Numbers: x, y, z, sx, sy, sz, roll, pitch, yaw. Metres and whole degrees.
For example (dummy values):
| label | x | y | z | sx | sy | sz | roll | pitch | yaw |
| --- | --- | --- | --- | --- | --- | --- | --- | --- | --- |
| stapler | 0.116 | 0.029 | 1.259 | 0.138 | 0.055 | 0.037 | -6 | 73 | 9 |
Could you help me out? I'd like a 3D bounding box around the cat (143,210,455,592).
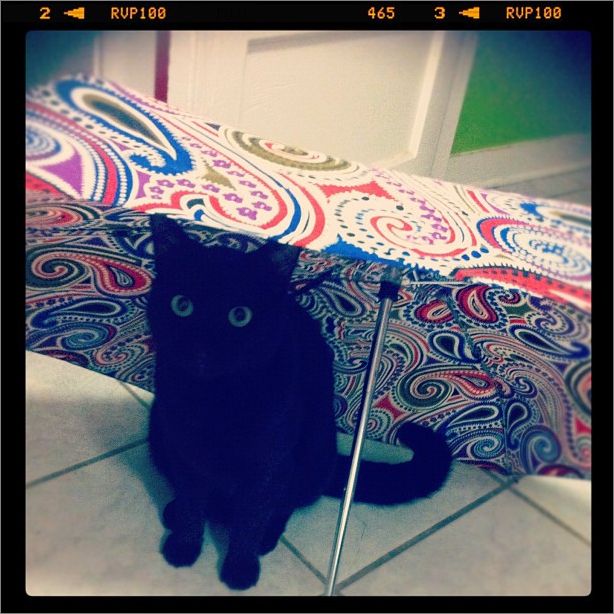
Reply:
| label | x | y | z | sx | sy | sz | roll | pitch | yaw |
| --- | --- | --- | --- | --- | --- | --- | --- | --- | --- |
| cat | -0.003 | 0.140 | 0.928 | 0.431 | 0.382 | 0.219 | 0 | 7 | -30 |
